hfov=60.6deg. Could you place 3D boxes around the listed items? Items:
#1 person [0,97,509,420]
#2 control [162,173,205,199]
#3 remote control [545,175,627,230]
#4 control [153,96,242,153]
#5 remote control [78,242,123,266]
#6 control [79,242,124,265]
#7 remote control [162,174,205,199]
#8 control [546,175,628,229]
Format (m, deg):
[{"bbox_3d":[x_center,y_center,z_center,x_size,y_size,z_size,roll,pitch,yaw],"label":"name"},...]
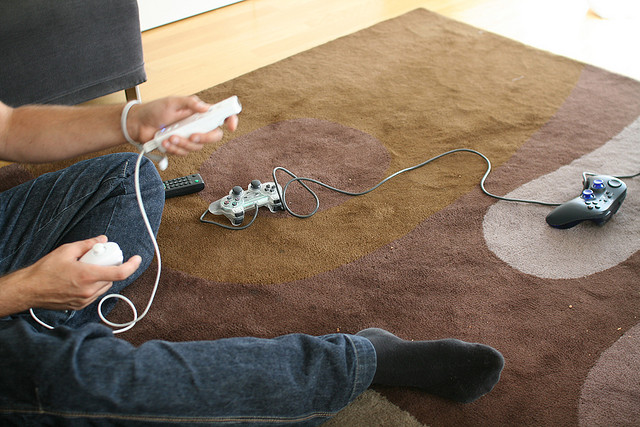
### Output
[{"bbox_3d":[-0.272,0.103,1.644,1.423,0.655,0.978,-6,48,-8],"label":"person"},{"bbox_3d":[-0.536,-0.118,2.211,0.175,0.044,0.074,-15,47,-15],"label":"control"},{"bbox_3d":[0.996,-0.041,2.034,0.301,0.111,0.189,-38,44,-27],"label":"remote control"},{"bbox_3d":[-0.339,-0.266,1.591,0.279,0.064,0.126,-25,13,10],"label":"control"},{"bbox_3d":[-0.617,0.116,1.561,0.082,0.046,0.081,12,31,18],"label":"remote control"},{"bbox_3d":[-0.630,0.093,1.559,0.078,0.045,0.078,20,33,28],"label":"control"},{"bbox_3d":[-0.539,-0.116,2.212,0.170,0.047,0.070,-13,47,-15],"label":"remote control"},{"bbox_3d":[1.039,-0.055,2.091,0.332,0.117,0.204,-38,39,-29],"label":"control"}]
